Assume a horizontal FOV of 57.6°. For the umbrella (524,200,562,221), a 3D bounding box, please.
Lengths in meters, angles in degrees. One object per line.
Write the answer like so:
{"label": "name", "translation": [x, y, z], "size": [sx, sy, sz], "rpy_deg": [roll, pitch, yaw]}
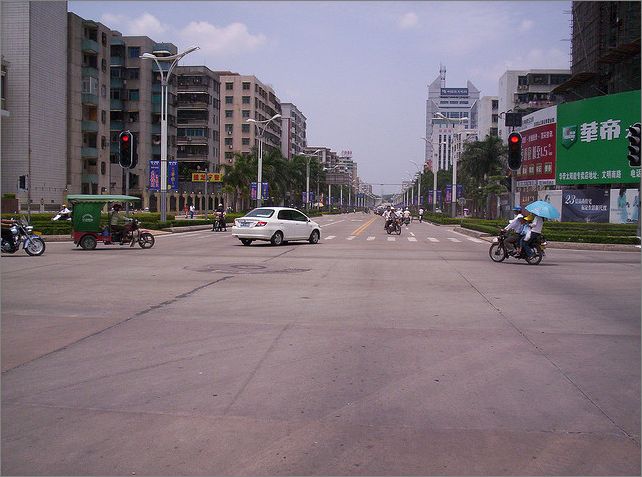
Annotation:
{"label": "umbrella", "translation": [7.293, -0.929, 19.122], "size": [0.941, 0.551, 1.130], "rpy_deg": [3, 6, 19]}

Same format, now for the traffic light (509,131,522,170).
{"label": "traffic light", "translation": [8.151, -3.716, 24.462], "size": [0.498, 1.552, 0.770], "rpy_deg": [2, 5, 17]}

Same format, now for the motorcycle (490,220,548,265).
{"label": "motorcycle", "translation": [6.746, 0.182, 20.104], "size": [1.916, 1.399, 1.167], "rpy_deg": [8, 6, 41]}

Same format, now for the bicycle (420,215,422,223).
{"label": "bicycle", "translation": [11.887, -2.478, 69.307], "size": [0.341, 0.794, 0.204], "rpy_deg": [3, -9, 30]}

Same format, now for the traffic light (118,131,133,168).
{"label": "traffic light", "translation": [-9.367, -4.303, 28.096], "size": [0.609, 1.733, 0.770], "rpy_deg": [-1, 5, -14]}

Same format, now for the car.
{"label": "car", "translation": [-1.974, -0.517, 26.181], "size": [1.134, 1.746, 4.167], "rpy_deg": [5, 7, 42]}

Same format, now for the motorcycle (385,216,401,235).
{"label": "motorcycle", "translation": [4.709, -0.869, 38.398], "size": [0.681, 0.912, 1.326], "rpy_deg": [-1, -1, -10]}

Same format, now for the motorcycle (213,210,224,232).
{"label": "motorcycle", "translation": [-6.854, -1.206, 39.131], "size": [0.688, 1.406, 1.281], "rpy_deg": [0, 5, -4]}
